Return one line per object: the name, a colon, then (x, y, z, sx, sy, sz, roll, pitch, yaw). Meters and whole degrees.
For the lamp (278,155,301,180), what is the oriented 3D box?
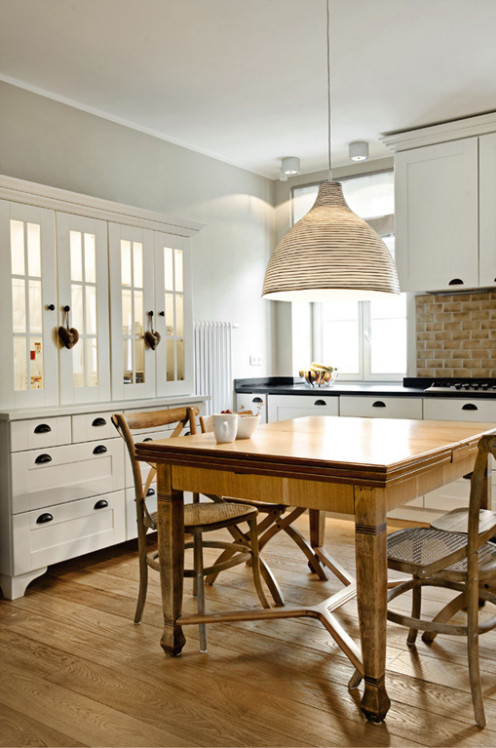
lamp: (0.345, -1.668, 4.739, 0.103, 0.110, 0.143, 0, -1, -13)

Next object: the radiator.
radiator: (-0.273, -0.106, 4.524, 0.400, 0.592, 0.039, -3, -7, 16)

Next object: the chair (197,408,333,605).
chair: (-0.005, 0.616, 2.584, 0.407, 0.553, 0.425, -6, 5, 13)

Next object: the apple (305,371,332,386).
apple: (0.522, 0.040, 4.334, 0.116, 0.066, 0.139, 0, -4, -8)

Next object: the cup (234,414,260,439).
cup: (-0.001, 0.193, 2.105, 0.080, 0.060, 0.082, 0, -6, 0)

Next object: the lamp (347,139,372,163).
lamp: (0.825, -1.639, 4.352, 0.131, 0.102, 0.135, -3, -10, 15)

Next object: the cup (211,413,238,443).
cup: (-0.075, 0.183, 1.948, 0.064, 0.078, 0.103, 0, 6, 8)

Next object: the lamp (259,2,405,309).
lamp: (0.292, -0.527, 2.181, 0.479, 0.522, 0.516, -1, -2, -3)
